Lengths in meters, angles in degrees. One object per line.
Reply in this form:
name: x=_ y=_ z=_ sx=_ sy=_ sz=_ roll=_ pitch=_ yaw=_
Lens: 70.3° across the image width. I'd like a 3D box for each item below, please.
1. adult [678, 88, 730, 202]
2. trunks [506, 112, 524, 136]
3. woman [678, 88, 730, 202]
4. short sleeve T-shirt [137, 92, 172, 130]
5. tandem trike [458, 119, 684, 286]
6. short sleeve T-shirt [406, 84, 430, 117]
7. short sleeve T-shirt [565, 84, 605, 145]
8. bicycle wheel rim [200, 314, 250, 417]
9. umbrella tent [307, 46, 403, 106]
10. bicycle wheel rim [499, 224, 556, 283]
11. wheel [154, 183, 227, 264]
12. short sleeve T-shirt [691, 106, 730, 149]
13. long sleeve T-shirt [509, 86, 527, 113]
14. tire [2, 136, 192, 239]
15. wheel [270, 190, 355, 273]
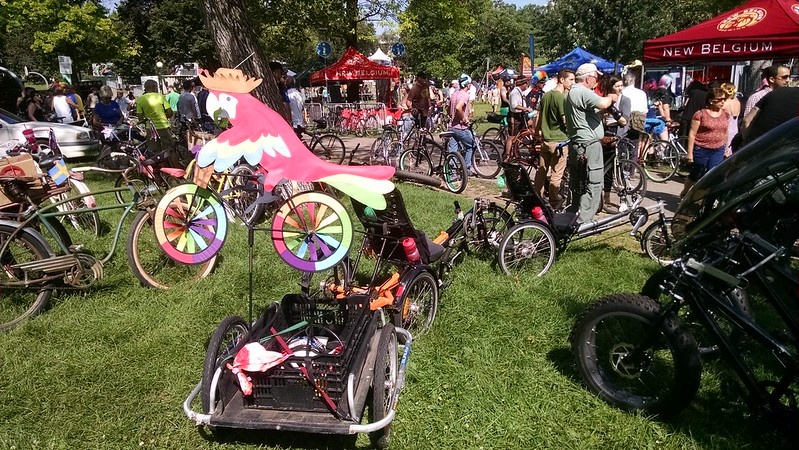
adult: x=5.664 y=-1.370 z=10.363 sx=0.690 sy=2.247 sz=0.658 roll=9 pitch=29 yaw=25
trunks: x=2.927 y=-2.565 z=14.252 sx=0.388 sy=0.681 sz=0.478 roll=-17 pitch=30 yaw=-22
woman: x=5.664 y=-1.353 z=10.340 sx=0.711 sy=2.226 sz=0.650 roll=11 pitch=26 yaw=26
short sleeve T-shirt: x=-5.276 y=-2.480 z=12.179 sx=0.696 sy=0.797 sz=0.428 roll=-22 pitch=37 yaw=-26
tandem trike: x=2.900 y=-0.263 z=9.828 sx=3.410 sy=2.057 sz=1.597 roll=-9 pitch=25 yaw=-9
short sleeve T-shirt: x=0.496 y=-3.194 z=14.567 sx=0.405 sy=0.719 sz=0.734 roll=20 pitch=30 yaw=41
short sleeve T-shirt: x=3.278 y=-1.975 z=9.989 sx=0.593 sy=1.042 sz=1.164 roll=-4 pitch=5 yaw=-1
bicycle wheel rim: x=-2.081 y=1.733 z=6.794 sx=0.196 sy=1.020 sz=0.960 roll=11 pitch=14 yaw=15
umbrella tent: x=-1.781 y=-5.988 z=22.007 sx=2.905 sy=1.738 sz=3.011 roll=2 pitch=18 yaw=3
bicycle wheel rim: x=2.025 y=0.356 z=8.842 sx=1.021 sy=0.898 sz=0.370 roll=-8 pitch=20 yaw=-17
wheel: x=-2.770 y=-0.011 z=7.468 sx=1.237 sy=1.272 sz=0.242 roll=0 pitch=4 yaw=0
short sleeve T-shirt: x=5.705 y=-1.772 z=10.304 sx=0.693 sy=0.680 sz=0.391 roll=-2 pitch=13 yaw=-3
long sleeve T-shirt: x=3.008 y=-3.176 z=14.380 sx=0.386 sy=0.584 sz=0.730 roll=-6 pitch=31 yaw=2
tire: x=-5.097 y=-0.511 z=9.910 sx=2.965 sy=1.873 sz=1.871 roll=0 pitch=34 yaw=0
wheel: x=-1.064 y=0.089 z=7.035 sx=1.175 sy=1.209 sz=0.145 roll=-6 pitch=5 yaw=4
